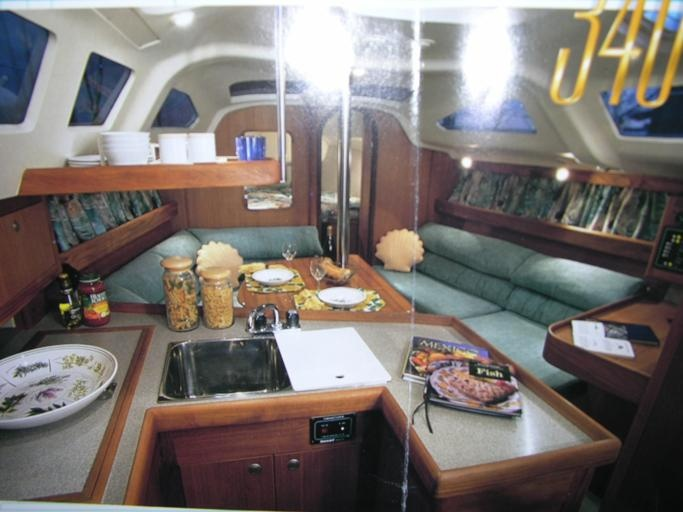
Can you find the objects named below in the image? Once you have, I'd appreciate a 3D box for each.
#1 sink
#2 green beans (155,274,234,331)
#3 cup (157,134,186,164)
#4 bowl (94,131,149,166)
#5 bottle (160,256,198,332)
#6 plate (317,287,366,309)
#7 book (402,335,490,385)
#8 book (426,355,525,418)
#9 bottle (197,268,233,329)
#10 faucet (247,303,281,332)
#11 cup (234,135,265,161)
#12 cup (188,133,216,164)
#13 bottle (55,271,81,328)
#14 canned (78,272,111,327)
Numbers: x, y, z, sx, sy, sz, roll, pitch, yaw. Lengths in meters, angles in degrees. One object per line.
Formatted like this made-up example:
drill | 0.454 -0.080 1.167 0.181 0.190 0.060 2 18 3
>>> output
sink | -0.396 0.451 1.615 0.405 0.227 0.329 -4 16 -12
green beans | -0.554 0.184 1.773 0.192 0.168 0.095 -6 15 -16
cup | -0.527 -0.343 1.477 0.104 0.092 0.079 0 14 -16
bowl | -0.678 -0.337 1.455 0.148 0.100 0.096 -6 17 -17
bottle | -0.618 0.132 1.783 0.125 0.293 0.199 -7 17 -20
plate | -0.001 0.207 2.338 0.248 0.044 0.248 4 16 16
book | 0.339 0.363 1.576 0.300 0.036 0.311 -5 18 -2
book | 0.417 0.398 1.441 0.179 0.041 0.171 4 23 7
bottle | -0.478 0.163 1.822 0.188 0.228 0.184 -4 15 -9
faucet | -0.297 0.245 1.825 0.148 0.116 0.082 5 1 -37
cup | -0.317 -0.386 1.624 0.094 0.088 0.090 3 26 -2
cup | -0.454 -0.346 1.520 0.097 0.102 0.093 -2 7 0
bottle | -1.026 0.166 1.768 0.064 0.200 0.096 2 17 9
canned | -0.949 0.158 1.790 0.099 0.203 0.118 -10 19 -28
